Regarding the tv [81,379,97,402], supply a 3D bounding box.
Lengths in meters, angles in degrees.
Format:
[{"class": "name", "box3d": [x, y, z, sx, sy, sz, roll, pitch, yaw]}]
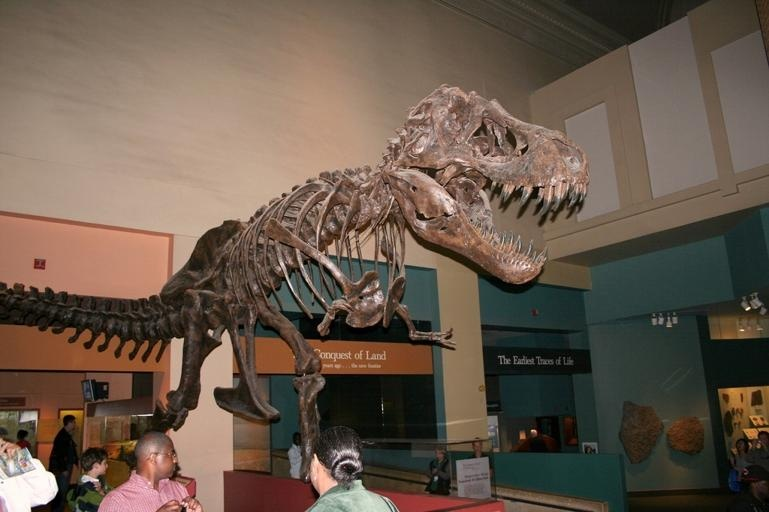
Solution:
[{"class": "tv", "box3d": [-4.192, 1.902, 8.044, 0.170, 0.305, 0.300, 9, -17, -35]}]

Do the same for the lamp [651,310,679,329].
[{"class": "lamp", "box3d": [6.501, 1.505, 13.276, 0.561, 0.297, 1.446, -8, -16, 24]}]
